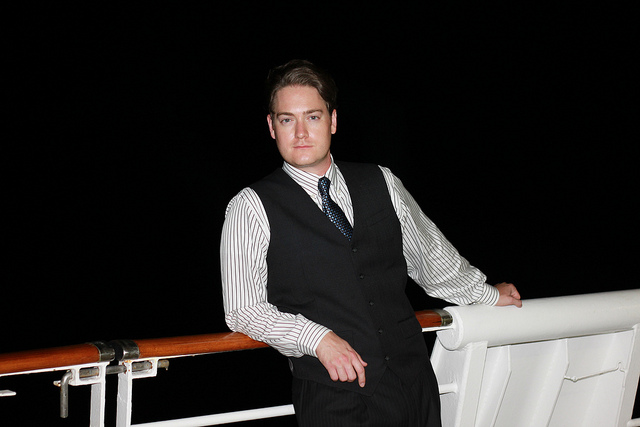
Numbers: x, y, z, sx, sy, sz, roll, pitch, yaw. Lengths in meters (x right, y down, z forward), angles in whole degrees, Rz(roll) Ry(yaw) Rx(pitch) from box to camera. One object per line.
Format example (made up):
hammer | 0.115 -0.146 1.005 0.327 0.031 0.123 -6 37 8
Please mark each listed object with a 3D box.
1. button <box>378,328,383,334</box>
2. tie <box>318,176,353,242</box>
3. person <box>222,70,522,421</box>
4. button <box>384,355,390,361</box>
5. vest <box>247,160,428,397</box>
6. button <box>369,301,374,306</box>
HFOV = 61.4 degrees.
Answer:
button | 0.174 0.339 1.552 0.016 0.015 0.004 2 1 -5
tie | 0.043 -0.013 1.640 0.063 0.237 0.022 -28 -21 -7
person | 0.113 0.110 1.656 0.813 1.038 0.276 0 -16 -22
button | 0.191 0.417 1.551 0.018 0.017 0.004 -2 -5 -1
vest | 0.074 0.183 1.698 0.483 0.711 0.363 -12 0 -9
button | 0.147 0.260 1.559 0.012 0.012 0.003 -8 11 -2
